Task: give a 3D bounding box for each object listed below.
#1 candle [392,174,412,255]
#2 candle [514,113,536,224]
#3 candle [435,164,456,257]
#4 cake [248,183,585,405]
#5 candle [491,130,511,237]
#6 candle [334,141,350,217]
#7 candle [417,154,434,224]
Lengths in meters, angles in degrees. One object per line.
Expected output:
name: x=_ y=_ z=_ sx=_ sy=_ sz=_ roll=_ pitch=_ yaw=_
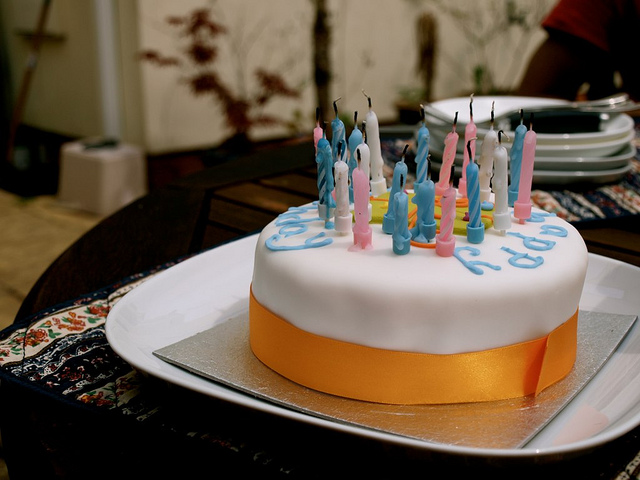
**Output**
candle: x=0.127 y=-0.042 z=0.898 sx=0.028 sy=0.106 sz=0.095 roll=0 pitch=17 yaw=8
candle: x=0.358 y=-0.132 z=1.022 sx=0.030 sy=0.180 sz=0.135 roll=4 pitch=18 yaw=19
candle: x=0.185 y=-0.028 z=0.866 sx=0.026 sy=0.102 sz=0.034 roll=1 pitch=17 yaw=10
cake: x=0.152 y=0.057 z=0.937 sx=0.543 sy=0.301 sz=0.281 roll=-2 pitch=17 yaw=2
candle: x=0.295 y=-0.081 z=0.950 sx=0.032 sy=0.137 sz=0.078 roll=3 pitch=18 yaw=18
candle: x=0.033 y=-0.077 z=0.914 sx=0.023 sy=0.089 sz=0.028 roll=-3 pitch=17 yaw=-2
candle: x=0.163 y=-0.060 z=0.906 sx=0.025 sy=0.067 sz=0.052 roll=1 pitch=17 yaw=10
